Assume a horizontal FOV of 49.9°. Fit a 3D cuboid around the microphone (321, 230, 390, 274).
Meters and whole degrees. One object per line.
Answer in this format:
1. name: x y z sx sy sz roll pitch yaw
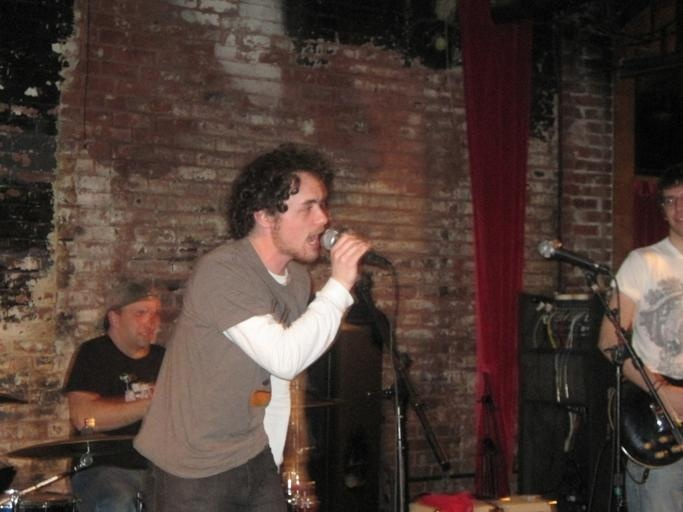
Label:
1. microphone: 0.053 -0.017 3.475 0.375 0.103 0.099 27 35 22
